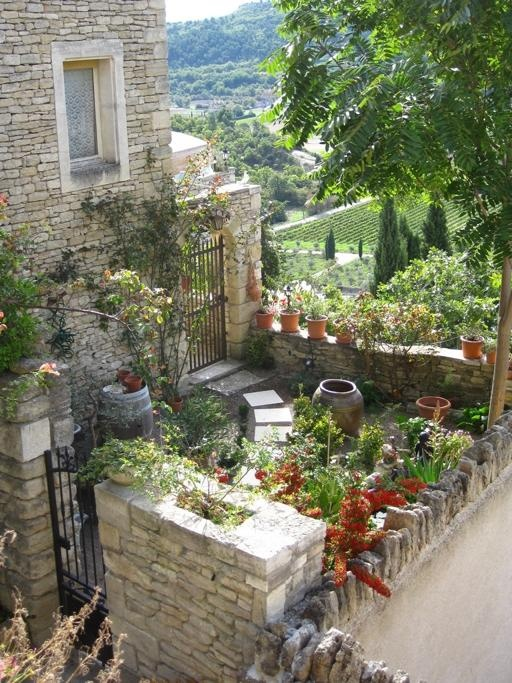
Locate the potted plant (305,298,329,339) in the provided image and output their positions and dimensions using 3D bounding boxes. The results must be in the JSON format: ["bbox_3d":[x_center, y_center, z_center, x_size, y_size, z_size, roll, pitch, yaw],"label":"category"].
[{"bbox_3d":[0.892,-0.323,9.507,0.308,0.477,0.839,-1,14,6],"label":"potted plant"}]

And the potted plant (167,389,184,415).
[{"bbox_3d":[-1.030,0.782,8.341,0.283,0.192,0.250,2,31,-2],"label":"potted plant"}]

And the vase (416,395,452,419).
[{"bbox_3d":[2.106,0.781,7.499,0.318,0.203,0.316,14,22,41],"label":"vase"}]

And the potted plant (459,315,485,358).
[{"bbox_3d":[2.725,-0.016,8.023,0.272,0.387,0.487,2,15,18],"label":"potted plant"}]

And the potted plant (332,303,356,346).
[{"bbox_3d":[1.234,-0.239,8.934,0.539,0.384,0.535,-1,19,0],"label":"potted plant"}]

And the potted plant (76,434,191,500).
[{"bbox_3d":[-0.628,0.756,3.737,0.513,0.210,0.370,12,20,30],"label":"potted plant"}]

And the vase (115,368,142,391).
[{"bbox_3d":[-1.457,0.434,7.221,0.212,0.105,0.348,-15,18,-39],"label":"vase"}]

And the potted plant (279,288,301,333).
[{"bbox_3d":[0.503,-0.492,9.712,0.304,0.667,0.549,-2,15,3],"label":"potted plant"}]

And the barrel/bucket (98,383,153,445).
[{"bbox_3d":[-1.373,0.801,7.042,0.639,0.568,0.589,-3,17,1],"label":"barrel/bucket"}]
